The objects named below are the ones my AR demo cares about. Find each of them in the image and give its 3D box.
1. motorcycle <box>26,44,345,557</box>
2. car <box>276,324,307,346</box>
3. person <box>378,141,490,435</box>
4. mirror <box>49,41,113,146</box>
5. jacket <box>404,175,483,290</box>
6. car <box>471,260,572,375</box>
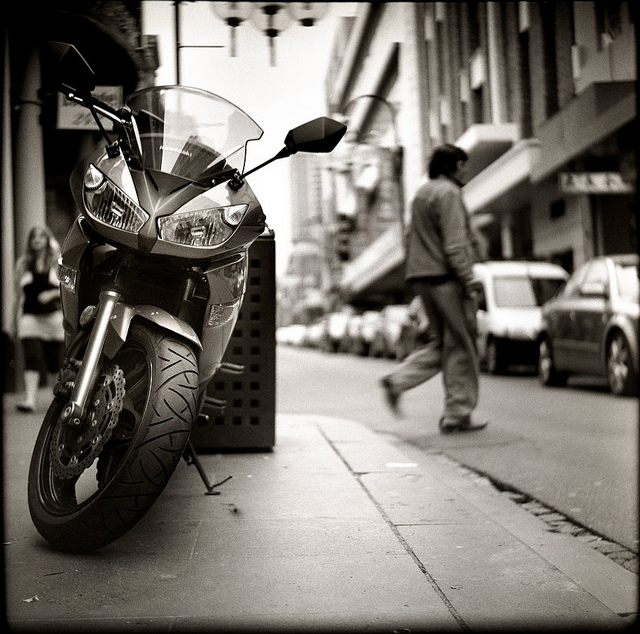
[{"bbox_3d":[-0.590,-0.068,3.496,0.926,1.517,0.574,-1,0,-20],"label":"motorcycle"},{"bbox_3d":[-1.203,0.815,41.208,1.159,1.080,2.359,1,-6,-17],"label":"car"},{"bbox_3d":[0.811,-0.232,6.718,0.689,1.928,0.664,-1,0,11],"label":"person"},{"bbox_3d":[-0.872,-0.841,3.516,0.210,0.453,0.218,-5,13,-31],"label":"mirror"},{"bbox_3d":[0.800,-0.553,6.814,0.414,0.905,0.897,6,-6,-23],"label":"jacket"},{"bbox_3d":[2.691,-0.093,12.602,1.085,1.162,2.169,-1,-7,-4],"label":"car"}]
